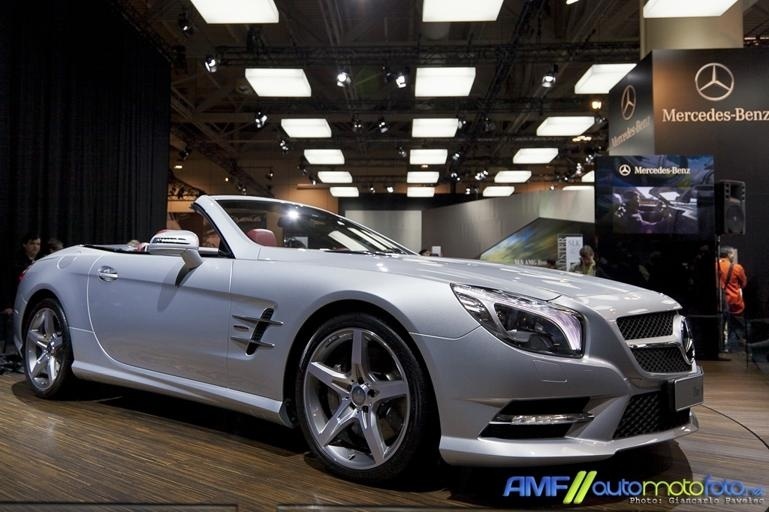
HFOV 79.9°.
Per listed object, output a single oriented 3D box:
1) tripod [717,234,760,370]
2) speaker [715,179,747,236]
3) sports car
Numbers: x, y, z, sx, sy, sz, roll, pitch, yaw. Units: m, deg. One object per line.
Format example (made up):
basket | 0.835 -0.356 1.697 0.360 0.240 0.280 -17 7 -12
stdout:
tripod | 5.059 0.648 6.656 0.417 1.553 1.664 4 4 36
speaker | 4.721 -0.655 6.257 0.470 0.715 0.203 0 4 -15
sports car | -0.360 0.406 3.019 4.378 1.652 0.862 2 4 21
